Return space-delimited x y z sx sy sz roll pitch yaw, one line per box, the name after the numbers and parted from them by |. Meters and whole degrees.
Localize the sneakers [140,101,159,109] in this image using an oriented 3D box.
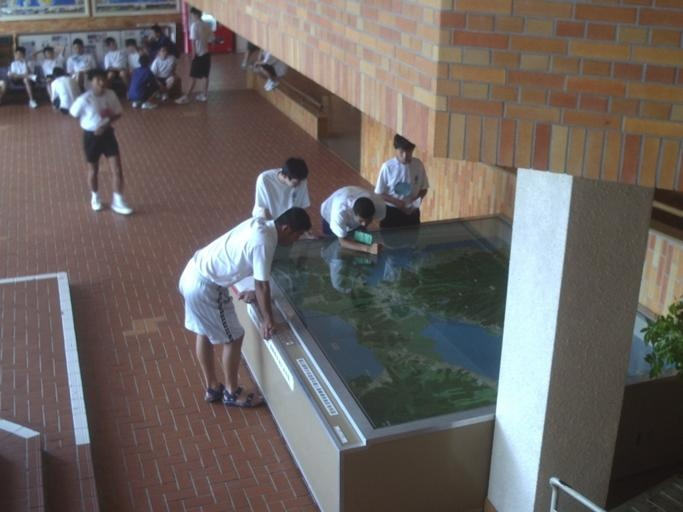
-5.133 -4.024 14.513 0.474 0.221 0.193 -10 61 -18 | sneakers

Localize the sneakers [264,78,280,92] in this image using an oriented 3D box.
-1.873 -4.584 14.495 0.426 0.188 0.246 -44 38 -2 | sneakers

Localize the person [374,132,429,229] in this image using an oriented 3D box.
0.826 -0.575 7.019 0.603 1.966 0.568 -7 35 -3 | person

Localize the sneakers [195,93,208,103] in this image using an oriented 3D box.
-3.905 -4.414 15.083 0.164 0.197 0.435 -16 38 -22 | sneakers

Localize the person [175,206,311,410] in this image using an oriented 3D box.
-0.890 0.530 4.835 1.102 2.020 0.452 6 16 20 | person

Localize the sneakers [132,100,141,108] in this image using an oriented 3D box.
-5.502 -4.064 14.523 0.134 0.306 0.151 -1 0 -6 | sneakers

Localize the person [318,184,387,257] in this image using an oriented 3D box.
0.146 -0.382 6.070 0.378 0.667 0.903 -22 -9 -11 | person

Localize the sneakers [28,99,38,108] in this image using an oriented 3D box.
-8.415 -4.165 14.755 0.162 0.179 0.391 -19 48 -28 | sneakers

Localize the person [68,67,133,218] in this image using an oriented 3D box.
-3.801 -1.776 8.605 0.709 2.260 0.929 -7 17 -23 | person

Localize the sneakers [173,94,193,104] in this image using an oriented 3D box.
-4.346 -4.319 14.964 0.410 0.179 0.228 -13 55 -9 | sneakers

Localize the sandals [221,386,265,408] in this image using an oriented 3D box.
-0.954 1.360 5.283 0.330 0.154 0.204 1 33 -3 | sandals
